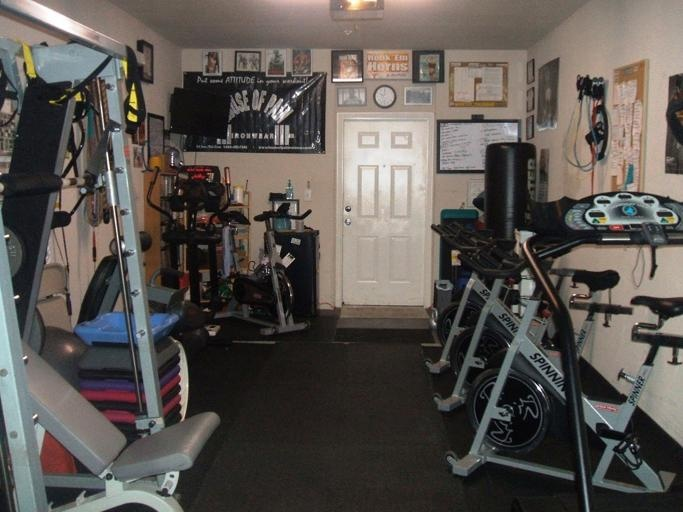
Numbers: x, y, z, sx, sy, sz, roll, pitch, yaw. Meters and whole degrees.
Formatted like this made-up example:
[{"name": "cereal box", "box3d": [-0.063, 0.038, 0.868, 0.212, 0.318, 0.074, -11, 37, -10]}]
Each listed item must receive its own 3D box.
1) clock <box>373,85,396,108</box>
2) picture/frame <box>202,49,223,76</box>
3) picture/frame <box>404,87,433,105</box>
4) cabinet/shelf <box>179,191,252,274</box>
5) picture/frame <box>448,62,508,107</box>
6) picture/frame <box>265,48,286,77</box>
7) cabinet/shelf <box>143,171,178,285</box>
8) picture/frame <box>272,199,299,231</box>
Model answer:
[{"name": "clock", "box3d": [0.488, -1.796, 6.078, 0.229, 0.247, 0.240, 3, 17, 6]}, {"name": "picture/frame", "box3d": [-1.451, -2.204, 6.112, 0.268, 0.349, 0.023, 0, 7, -4]}, {"name": "picture/frame", "box3d": [0.869, -1.800, 6.076, 0.321, 0.204, 0.046, 2, 10, 9]}, {"name": "cabinet/shelf", "box3d": [-1.346, -0.335, 5.407, 0.772, 1.157, 0.815, -1, 8, -21]}, {"name": "picture/frame", "box3d": [1.547, -1.939, 6.031, 0.453, 0.352, 0.017, 0, 4, 1]}, {"name": "picture/frame", "box3d": [-0.736, -2.201, 6.090, 0.281, 0.352, 0.026, 1, 12, 4]}, {"name": "cabinet/shelf", "box3d": [-1.828, -0.248, 5.298, 0.227, 1.139, 0.811, -3, 11, -19]}, {"name": "picture/frame", "box3d": [-0.604, -0.446, 5.940, 0.339, 0.479, 0.249, -1, 8, -8]}]
